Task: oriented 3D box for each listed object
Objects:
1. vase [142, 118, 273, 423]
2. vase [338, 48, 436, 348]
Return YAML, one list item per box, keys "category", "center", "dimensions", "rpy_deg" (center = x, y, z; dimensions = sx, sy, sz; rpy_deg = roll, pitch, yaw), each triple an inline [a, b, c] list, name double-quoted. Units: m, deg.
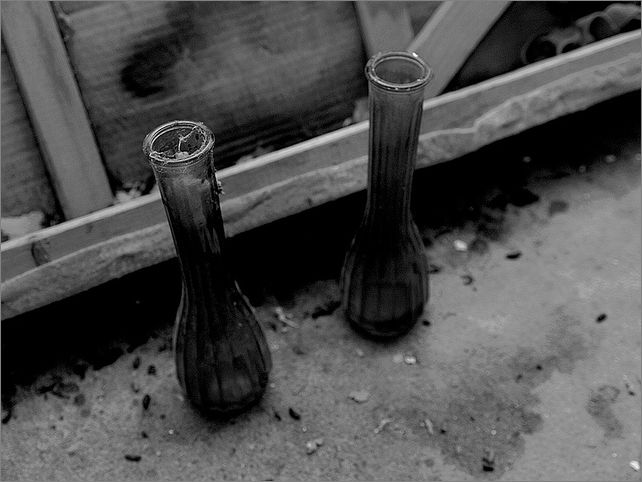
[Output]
- category: "vase"
  center: [-0.148, 0.052, 0.813]
  dimensions: [0.124, 0.358, 0.169]
  rpy_deg: [-25, 52, -25]
- category: "vase"
  center: [0.089, -0.037, 0.875]
  dimensions: [0.115, 0.392, 0.153]
  rpy_deg: [-26, 52, -25]
